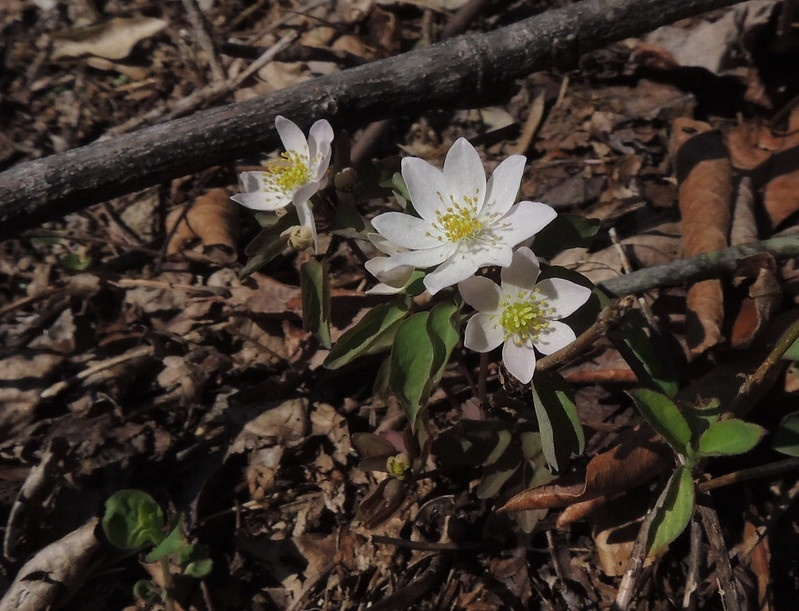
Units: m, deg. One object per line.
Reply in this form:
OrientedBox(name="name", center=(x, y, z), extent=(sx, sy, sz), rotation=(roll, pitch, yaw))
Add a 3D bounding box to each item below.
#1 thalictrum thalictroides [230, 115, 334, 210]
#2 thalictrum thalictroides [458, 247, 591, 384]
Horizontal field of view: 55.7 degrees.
OrientedBox(name="thalictrum thalictroides", center=(-0.468, -0.600, 3.417), extent=(0.424, 0.186, 0.500), rotation=(-20, -20, -36))
OrientedBox(name="thalictrum thalictroides", center=(0.488, 0.037, 2.960), extent=(0.499, 0.444, 0.225), rotation=(-22, 25, -14))
